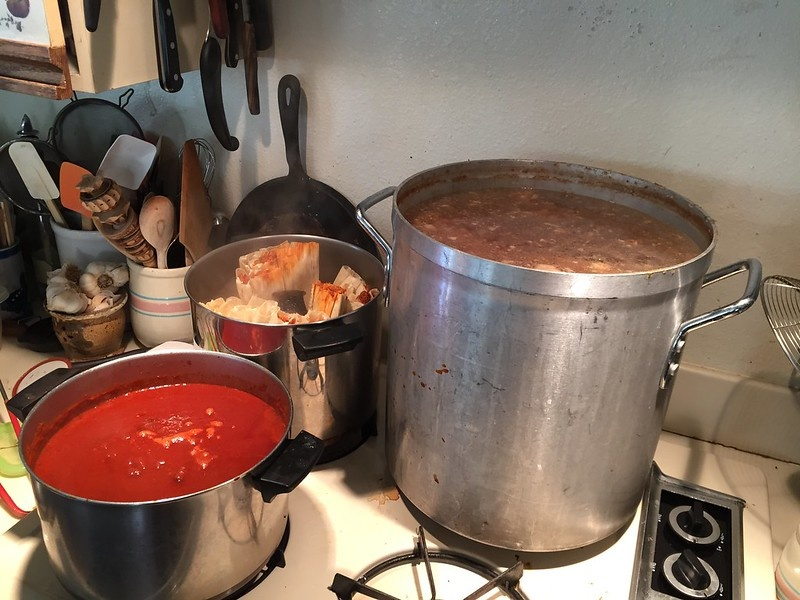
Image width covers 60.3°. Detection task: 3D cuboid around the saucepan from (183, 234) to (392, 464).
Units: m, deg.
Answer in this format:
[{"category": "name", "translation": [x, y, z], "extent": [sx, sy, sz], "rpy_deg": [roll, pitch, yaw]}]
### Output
[{"category": "saucepan", "translation": [-0.193, 0.109, 1.375], "extent": [0.438, 0.345, 0.337], "rpy_deg": [28, 42, 31]}]
